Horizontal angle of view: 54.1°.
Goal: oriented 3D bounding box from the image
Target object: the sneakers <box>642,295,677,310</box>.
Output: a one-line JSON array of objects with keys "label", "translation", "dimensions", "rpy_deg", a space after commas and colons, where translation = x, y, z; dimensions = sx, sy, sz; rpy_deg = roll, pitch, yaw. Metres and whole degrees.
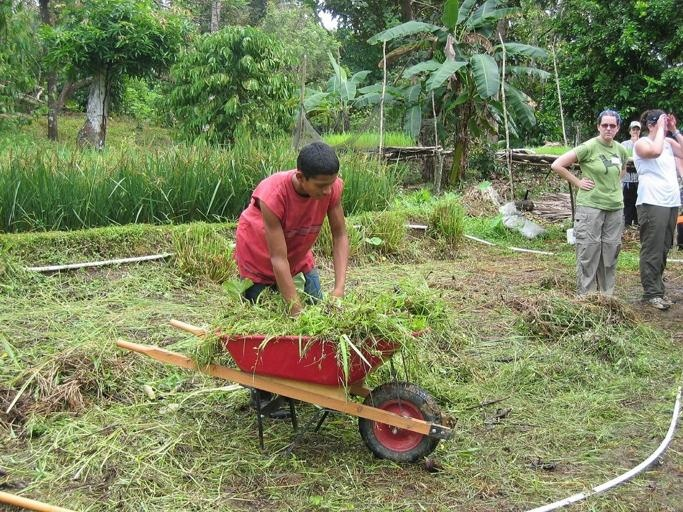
[{"label": "sneakers", "translation": [3.299, 0.488, 6.939], "dimensions": [0.117, 0.131, 0.305], "rpy_deg": [-13, 9, -30]}]

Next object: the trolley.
[{"label": "trolley", "translation": [-0.430, 0.899, 4.504], "dimensions": [2.262, 0.845, 0.751], "rpy_deg": [3, 3, 14]}]
